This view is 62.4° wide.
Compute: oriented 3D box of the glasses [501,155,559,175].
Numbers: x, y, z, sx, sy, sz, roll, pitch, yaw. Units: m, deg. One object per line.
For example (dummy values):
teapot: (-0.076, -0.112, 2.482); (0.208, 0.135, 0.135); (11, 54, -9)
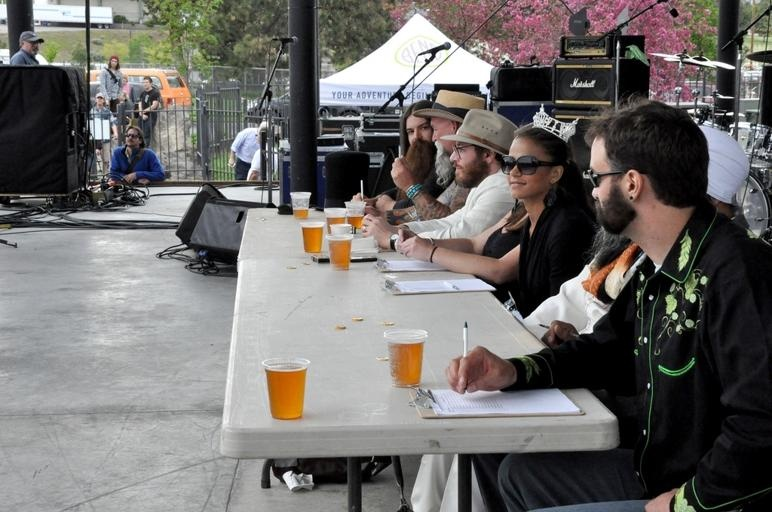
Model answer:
glasses: (0.750, -0.479, 3.376); (0.162, 0.052, 0.152); (2, 3, -24)

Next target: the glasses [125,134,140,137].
glasses: (-4.333, -2.044, 10.960); (0.185, 0.085, 0.291); (-3, 10, -21)

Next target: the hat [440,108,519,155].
hat: (0.639, -0.830, 4.370); (0.419, 0.149, 0.336); (15, 6, -12)

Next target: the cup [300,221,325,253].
cup: (-0.398, -0.114, 3.743); (0.183, 0.169, 0.180); (2, 8, 0)

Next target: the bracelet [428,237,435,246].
bracelet: (0.254, -0.081, 3.583); (0.013, 0.042, 0.047); (-5, -12, 16)

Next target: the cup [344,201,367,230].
cup: (-0.201, -0.273, 4.295); (0.187, 0.177, 0.179); (-1, 0, 0)

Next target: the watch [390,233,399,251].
watch: (0.046, -0.076, 3.788); (0.069, 0.086, 0.076); (1, 10, -2)

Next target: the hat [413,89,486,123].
hat: (0.535, -1.246, 5.352); (0.498, 0.166, 0.423); (10, -3, -1)

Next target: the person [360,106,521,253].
person: (0.183, -0.545, 4.427); (1.233, 0.959, 0.768); (1, 5, -7)

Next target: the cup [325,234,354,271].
cup: (-0.240, -0.018, 3.366); (0.179, 0.178, 0.167); (0, -1, 0)

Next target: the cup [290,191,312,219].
cup: (-0.633, -0.389, 4.881); (0.208, 0.214, 0.214); (0, 8, 0)

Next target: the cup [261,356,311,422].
cup: (-0.282, 0.375, 1.805); (0.163, 0.155, 0.160); (0, -8, 0)

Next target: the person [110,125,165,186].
person: (-4.539, -1.763, 11.509); (0.883, 1.046, 1.492); (0, 9, -6)

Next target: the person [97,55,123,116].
person: (-6.282, -3.763, 14.658); (0.520, 1.516, 0.468); (-10, 29, -43)

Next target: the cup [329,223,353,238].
cup: (-0.242, -0.139, 3.507); (0.114, 0.078, 0.090); (0, 2, -23)

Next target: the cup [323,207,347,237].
cup: (-0.318, -0.217, 4.102); (0.186, 0.180, 0.172); (0, -2, 0)

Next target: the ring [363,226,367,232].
ring: (-0.129, -0.163, 3.978); (0.036, 0.034, 0.009); (-1, 1, 41)

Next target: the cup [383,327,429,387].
cup: (0.062, 0.325, 2.037); (0.175, 0.172, 0.163); (0, -3, 0)

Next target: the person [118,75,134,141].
person: (-5.630, -3.197, 13.847); (0.344, 1.579, 0.296); (4, 9, -31)
